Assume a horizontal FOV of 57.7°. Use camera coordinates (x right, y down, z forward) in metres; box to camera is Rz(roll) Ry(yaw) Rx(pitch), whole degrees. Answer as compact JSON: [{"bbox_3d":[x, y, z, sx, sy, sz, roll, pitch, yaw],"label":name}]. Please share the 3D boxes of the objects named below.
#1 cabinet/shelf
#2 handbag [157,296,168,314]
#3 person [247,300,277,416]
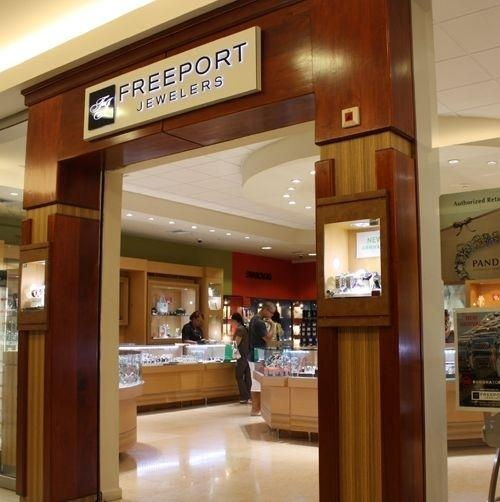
[{"bbox_3d":[-1.952,1.571,11.714,1.449,1.620,0.510,4,-9,-31],"label":"cabinet/shelf"},{"bbox_3d":[-2.247,1.401,11.571,0.122,0.402,0.264,-2,0,31],"label":"handbag"},{"bbox_3d":[0.185,1.890,7.890,0.472,1.980,1.416,0,-11,3],"label":"person"}]
